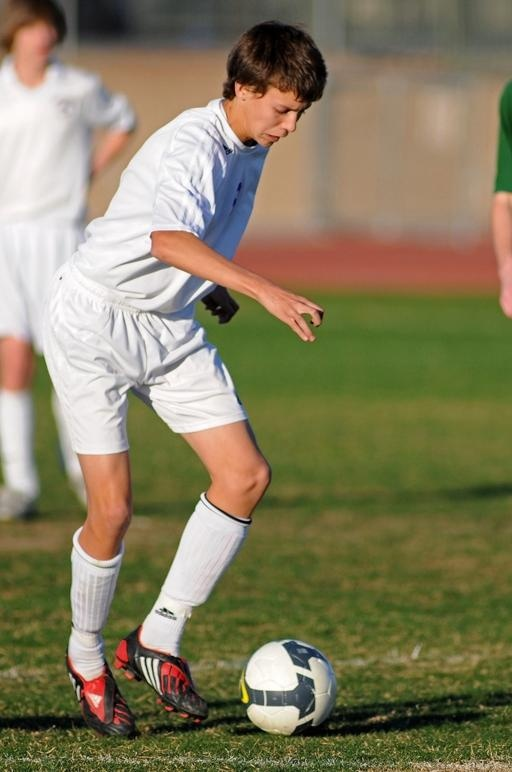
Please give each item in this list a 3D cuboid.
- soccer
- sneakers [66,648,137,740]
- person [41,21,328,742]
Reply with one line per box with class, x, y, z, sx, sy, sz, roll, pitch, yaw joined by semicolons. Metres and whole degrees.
soccer;0.073;0.764;2.351;0.256;0.202;0.254;-7;24;11
sneakers;-0.405;0.796;2.410;0.091;0.082;0.229;-20;50;-25
person;-0.145;0.035;2.286;0.560;1.782;0.847;-8;10;-36
